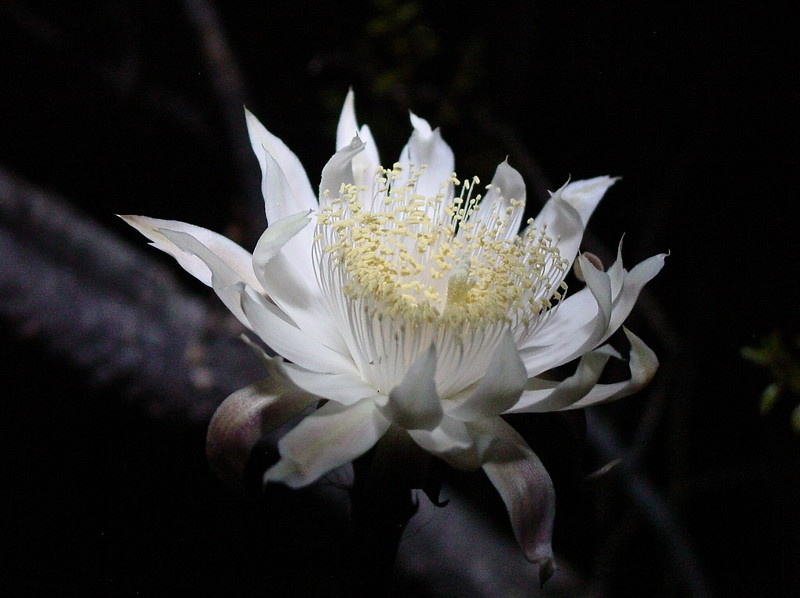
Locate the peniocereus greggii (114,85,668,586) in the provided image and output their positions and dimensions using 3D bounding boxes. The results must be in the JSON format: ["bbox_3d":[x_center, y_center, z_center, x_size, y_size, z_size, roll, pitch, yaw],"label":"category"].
[{"bbox_3d":[0.020,-0.023,1.437,0.820,0.318,0.791,23,55,12],"label":"peniocereus greggii"}]
